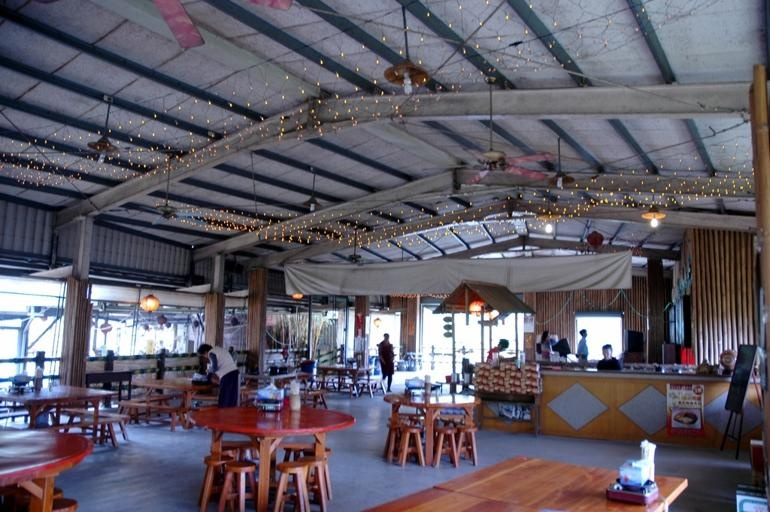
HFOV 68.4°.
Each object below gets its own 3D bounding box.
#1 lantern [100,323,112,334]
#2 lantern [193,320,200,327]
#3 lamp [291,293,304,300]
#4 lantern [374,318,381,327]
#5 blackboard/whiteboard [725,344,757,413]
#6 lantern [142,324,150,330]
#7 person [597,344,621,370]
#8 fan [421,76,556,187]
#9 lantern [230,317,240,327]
[{"bbox_3d":[-7.502,1.916,15.192,0.211,0.233,0.321,-5,-11,10],"label":"lantern"},{"bbox_3d":[-5.679,2.043,16.958,0.190,0.196,0.188,2,-11,-25],"label":"lantern"},{"bbox_3d":[-2.604,1.190,16.689,0.352,0.138,0.353,-5,-15,16],"label":"lamp"},{"bbox_3d":[-0.306,2.718,23.122,0.302,0.320,0.299,2,10,5],"label":"lantern"},{"bbox_3d":[5.627,1.931,8.977,0.263,1.130,0.290,8,8,14],"label":"blackboard/whiteboard"},{"bbox_3d":[-6.841,2.052,16.237,0.105,0.166,0.241,-6,-11,18],"label":"lantern"},{"bbox_3d":[4.350,1.984,11.068,0.395,0.499,0.989,-7,-12,21],"label":"person"},{"bbox_3d":[1.982,-1.986,9.191,1.450,1.331,1.382,-2,7,9],"label":"fan"},{"bbox_3d":[-4.804,2.098,18.230,0.258,0.243,0.446,14,3,4],"label":"lantern"}]
